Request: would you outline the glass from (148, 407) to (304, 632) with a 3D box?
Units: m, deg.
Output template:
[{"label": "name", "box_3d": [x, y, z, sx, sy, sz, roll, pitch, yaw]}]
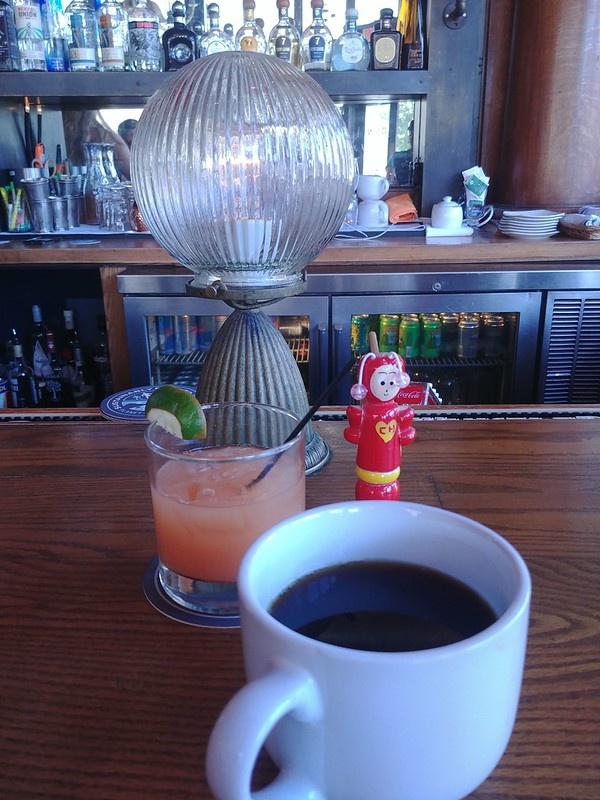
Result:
[{"label": "glass", "box_3d": [-0.047, 0.073, 0.448, 0.128, 0.137, 0.126, 1, 14, 0]}]

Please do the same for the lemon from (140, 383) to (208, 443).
[{"label": "lemon", "box_3d": [-0.082, 0.006, 0.426, 0.056, 0.017, 0.028, 19, 58, 39]}]

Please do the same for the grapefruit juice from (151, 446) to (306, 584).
[{"label": "grapefruit juice", "box_3d": [-0.057, 0.065, 0.427, 0.086, 0.062, 0.087, -1, 9, -2]}]
